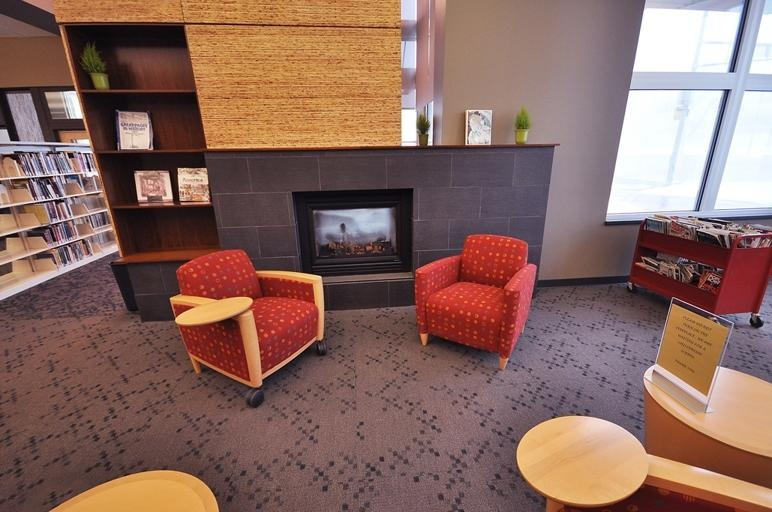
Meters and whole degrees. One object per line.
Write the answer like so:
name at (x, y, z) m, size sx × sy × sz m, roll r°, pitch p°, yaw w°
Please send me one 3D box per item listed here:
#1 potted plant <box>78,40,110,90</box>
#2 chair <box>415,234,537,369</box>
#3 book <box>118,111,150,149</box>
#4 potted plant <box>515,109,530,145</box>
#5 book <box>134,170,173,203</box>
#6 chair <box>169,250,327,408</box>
potted plant at (-3.497, -2.281, 5.821) m, size 0.276 × 0.560 × 0.401 m, roll -12°, pitch 22°, yaw -26°
chair at (1.058, 0.478, 5.740) m, size 1.174 × 1.302 × 0.897 m, roll 8°, pitch 22°, yaw 25°
book at (-3.168, -1.586, 6.083) m, size 0.533 × 0.546 × 0.066 m, roll -2°, pitch 6°, yaw -8°
potted plant at (1.726, -1.639, 6.137) m, size 0.157 × 0.446 × 0.180 m, roll 10°, pitch 24°, yaw 29°
book at (-2.997, -0.904, 6.274) m, size 0.461 × 0.429 × 0.060 m, roll -3°, pitch 10°, yaw -1°
chair at (-1.511, 0.667, 5.346) m, size 1.515 × 1.279 × 1.032 m, roll -15°, pitch 24°, yaw -34°
